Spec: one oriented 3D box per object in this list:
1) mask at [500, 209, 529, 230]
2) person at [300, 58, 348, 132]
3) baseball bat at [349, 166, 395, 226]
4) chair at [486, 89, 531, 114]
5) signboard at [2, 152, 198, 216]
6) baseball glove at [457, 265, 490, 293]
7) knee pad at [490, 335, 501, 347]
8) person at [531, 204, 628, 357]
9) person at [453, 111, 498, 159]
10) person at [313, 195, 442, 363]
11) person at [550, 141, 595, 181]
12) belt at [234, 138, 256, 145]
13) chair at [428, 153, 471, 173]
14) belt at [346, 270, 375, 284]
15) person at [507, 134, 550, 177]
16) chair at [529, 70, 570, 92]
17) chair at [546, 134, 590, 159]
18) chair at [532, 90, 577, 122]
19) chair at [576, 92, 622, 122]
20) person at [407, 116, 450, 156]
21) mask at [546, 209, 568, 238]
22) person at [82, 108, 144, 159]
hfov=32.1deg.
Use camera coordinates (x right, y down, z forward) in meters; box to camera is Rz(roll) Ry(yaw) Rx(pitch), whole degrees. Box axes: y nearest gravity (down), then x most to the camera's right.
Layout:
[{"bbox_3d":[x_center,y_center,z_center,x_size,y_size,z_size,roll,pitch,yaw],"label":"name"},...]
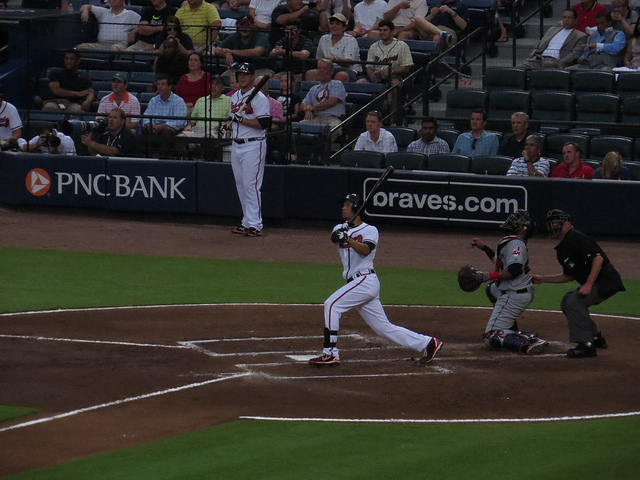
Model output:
[{"bbox_3d":[2.382,-0.269,13.600,0.297,0.099,0.217,-24,-21,0],"label":"mask"},{"bbox_3d":[0.071,-2.560,19.591,0.760,1.197,0.507,1,10,1],"label":"person"},{"bbox_3d":[0.809,-0.689,17.008,1.418,0.156,0.153,-44,-8,-26],"label":"baseball bat"},{"bbox_3d":[3.403,-2.496,19.951,0.582,0.506,0.468,2,7,12],"label":"chair"},{"bbox_3d":[-3.762,-0.978,19.399,3.372,0.944,0.193,3,10,10],"label":"signboard"},{"bbox_3d":[1.881,0.504,13.612,0.347,0.338,0.395,1,9,-2],"label":"baseball glove"},{"bbox_3d":[2.141,1.230,13.502,0.136,0.155,0.044,4,10,15],"label":"knee pad"},{"bbox_3d":[3.159,0.513,13.464,0.694,1.692,0.758,-6,12,-37],"label":"person"},{"bbox_3d":[2.602,-1.773,18.641,0.746,0.765,0.730,3,10,11],"label":"person"},{"bbox_3d":[0.605,0.470,12.937,1.276,1.929,0.492,1,10,-1],"label":"person"},{"bbox_3d":[4.138,-1.264,18.019,0.788,0.666,0.419,5,4,30],"label":"person"},{"bbox_3d":[-1.182,-1.580,17.778,0.330,0.095,0.068,1,10,-4],"label":"belt"},{"bbox_3d":[2.170,-1.281,18.506,0.717,0.275,0.138,5,10,21],"label":"chair"},{"bbox_3d":[0.497,0.443,12.930,0.218,0.079,0.163,-35,0,-3],"label":"belt"},{"bbox_3d":[3.503,-1.369,18.035,0.729,0.663,0.551,-7,13,-42],"label":"person"},{"bbox_3d":[4.203,-2.828,20.391,0.528,0.442,0.524,3,-9,11],"label":"chair"},{"bbox_3d":[4.188,-1.573,18.886,0.535,0.626,0.527,2,-1,20],"label":"chair"},{"bbox_3d":[4.130,-2.402,19.971,0.647,0.746,0.699,4,6,19],"label":"chair"},{"bbox_3d":[5.061,-2.352,19.708,0.567,0.683,0.654,6,9,23],"label":"chair"},{"bbox_3d":[1.918,-1.747,19.095,0.916,0.665,0.419,4,4,27],"label":"person"},{"bbox_3d":[2.886,-0.184,13.608,0.345,0.321,0.272,6,-12,-19],"label":"mask"},{"bbox_3d":[-3.627,-1.869,19.423,0.979,0.835,0.582,7,11,32],"label":"person"}]
